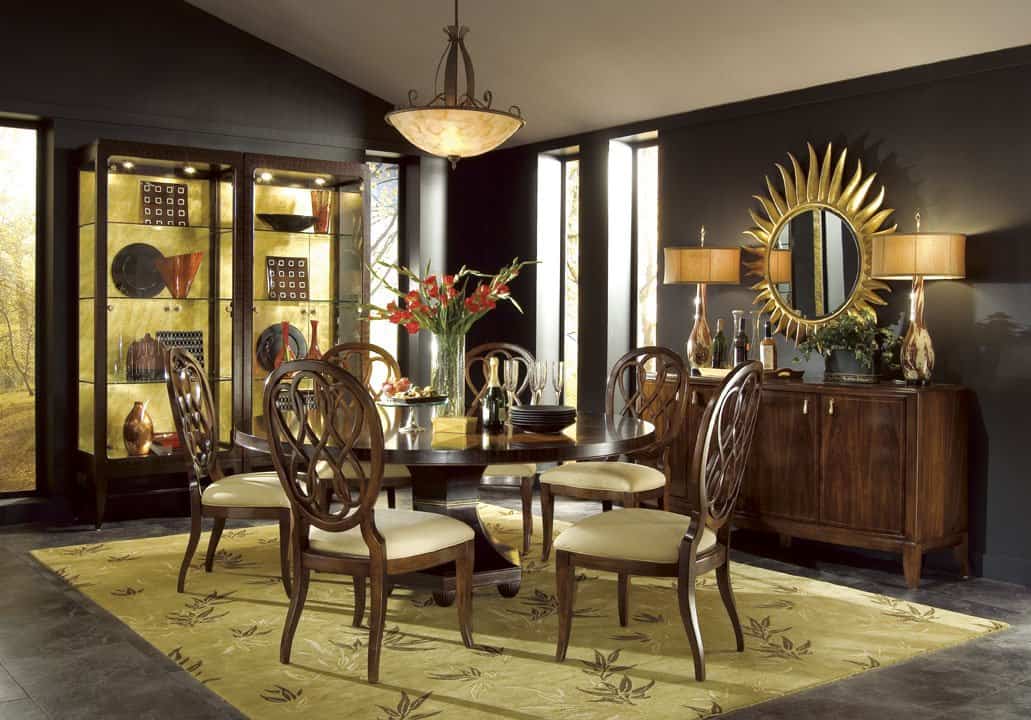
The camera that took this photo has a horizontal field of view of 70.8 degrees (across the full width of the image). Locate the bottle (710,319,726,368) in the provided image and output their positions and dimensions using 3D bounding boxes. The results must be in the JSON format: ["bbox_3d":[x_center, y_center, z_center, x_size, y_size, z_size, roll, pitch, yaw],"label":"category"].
[{"bbox_3d":[1.421,-0.121,5.061,0.096,0.331,0.385,1,3,16],"label":"bottle"}]

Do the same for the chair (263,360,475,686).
[{"bbox_3d":[-0.612,0.638,3.054,0.658,1.224,0.750,-2,-3,30],"label":"chair"}]

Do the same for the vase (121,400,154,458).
[{"bbox_3d":[-2.625,0.478,5.017,0.185,0.383,0.074,-1,3,-34],"label":"vase"}]

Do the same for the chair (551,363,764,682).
[{"bbox_3d":[0.618,0.659,3.168,0.796,1.211,0.729,-2,-4,28],"label":"chair"}]

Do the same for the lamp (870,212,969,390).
[{"bbox_3d":[2.316,-0.376,4.182,0.449,1.002,0.408,-2,4,-44],"label":"lamp"}]

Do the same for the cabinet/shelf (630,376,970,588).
[{"bbox_3d":[1.608,0.660,3.893,0.424,0.669,1.145,3,-3,-40],"label":"cabinet/shelf"}]

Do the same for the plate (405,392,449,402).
[{"bbox_3d":[-0.460,0.182,3.548,0.099,0.029,0.092,-1,2,-41],"label":"plate"}]
